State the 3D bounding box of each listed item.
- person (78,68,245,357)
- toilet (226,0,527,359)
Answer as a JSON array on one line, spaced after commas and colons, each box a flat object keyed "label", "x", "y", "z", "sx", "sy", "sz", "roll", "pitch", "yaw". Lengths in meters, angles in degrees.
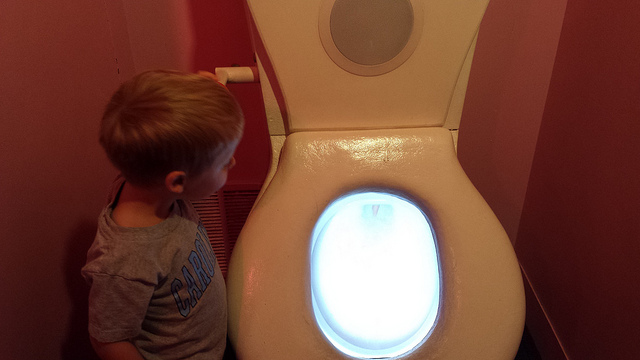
[{"label": "person", "x": -0.386, "y": 0.087, "z": 1.104, "sx": 0.277, "sy": 0.704, "sz": 0.349, "roll": -11, "pitch": 53, "yaw": -14}, {"label": "toilet", "x": 0.152, "y": -0.041, "z": 1.519, "sx": 0.706, "sy": 1.043, "sz": 1.023, "roll": -2, "pitch": -13, "yaw": 1}]
